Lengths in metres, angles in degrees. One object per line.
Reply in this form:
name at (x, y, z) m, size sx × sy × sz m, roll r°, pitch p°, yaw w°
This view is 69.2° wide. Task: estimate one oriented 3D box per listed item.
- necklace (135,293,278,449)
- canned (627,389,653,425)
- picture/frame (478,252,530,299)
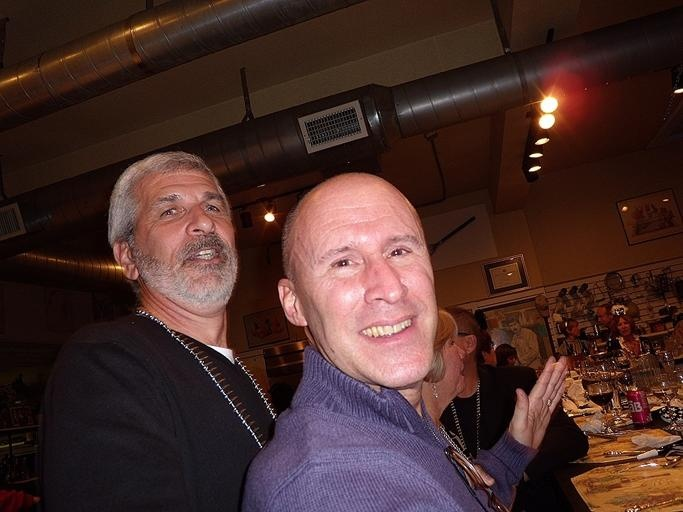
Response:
necklace at (-0.410, 0.383, 1.600) m, size 0.126 × 0.489 × 0.344 m, roll -46°, pitch 7°, yaw 2°
canned at (1.494, 0.757, 2.488) m, size 0.096 × 0.168 × 0.096 m, roll 0°, pitch -14°, yaw -36°
picture/frame at (2.766, 0.328, 8.296) m, size 0.628 × 0.614 × 0.073 m, roll -13°, pitch -5°, yaw 7°
